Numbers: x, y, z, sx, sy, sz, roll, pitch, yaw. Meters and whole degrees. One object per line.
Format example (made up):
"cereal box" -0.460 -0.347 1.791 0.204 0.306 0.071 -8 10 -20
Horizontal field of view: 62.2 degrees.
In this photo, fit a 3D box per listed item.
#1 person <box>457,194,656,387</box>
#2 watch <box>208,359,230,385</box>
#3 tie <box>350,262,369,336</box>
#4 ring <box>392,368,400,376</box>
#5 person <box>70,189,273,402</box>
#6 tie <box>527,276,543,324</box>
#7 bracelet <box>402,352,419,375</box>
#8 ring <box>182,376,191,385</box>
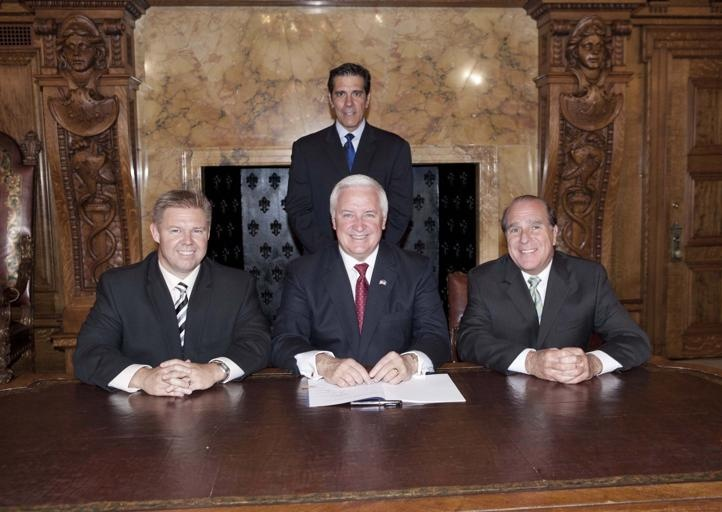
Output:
"person" 0.938 0.112 2.982 0.855 0.834 0.791 -3 5 -27
"watch" -0.621 0.501 2.615 0.080 0.048 0.096 4 27 1
"tie" -0.013 0.218 3.011 0.060 0.356 0.044 1 -11 1
"ring" 0.152 0.502 2.595 0.033 0.033 0.009 -1 -5 14
"person" -0.885 0.122 2.800 0.898 0.865 0.716 -2 5 -9
"tie" 0.931 0.239 3.176 0.076 0.230 0.021 -1 -36 -6
"bracelet" 0.225 0.478 2.678 0.065 0.037 0.084 0 48 -7
"ring" -0.731 0.520 2.500 0.034 0.032 0.021 -3 5 -23
